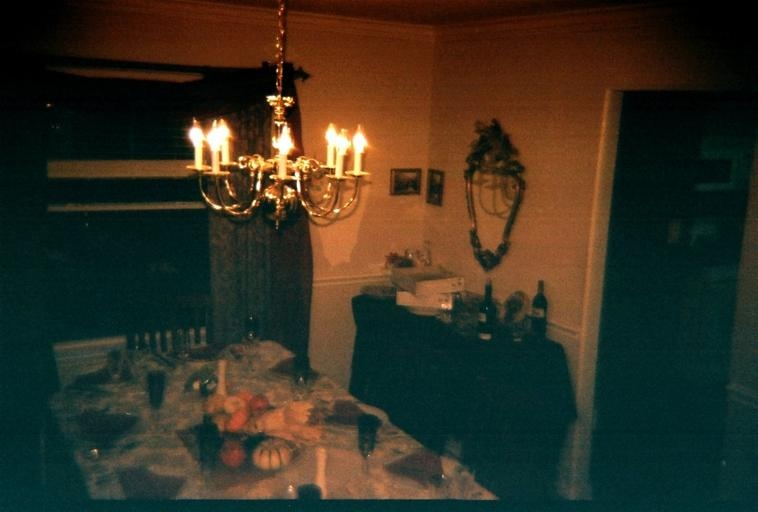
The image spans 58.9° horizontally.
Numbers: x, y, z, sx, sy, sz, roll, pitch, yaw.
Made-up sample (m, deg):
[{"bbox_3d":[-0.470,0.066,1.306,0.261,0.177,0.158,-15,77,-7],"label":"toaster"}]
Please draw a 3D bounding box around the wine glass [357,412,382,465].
[{"bbox_3d":[-0.055,0.904,3.308,0.159,0.204,0.052,2,6,1],"label":"wine glass"}]

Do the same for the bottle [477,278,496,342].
[{"bbox_3d":[0.532,0.267,3.287,0.086,0.296,0.044,2,10,7],"label":"bottle"}]

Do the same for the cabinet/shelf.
[{"bbox_3d":[0.338,0.923,3.441,1.376,1.060,0.610,12,-19,-30],"label":"cabinet/shelf"}]

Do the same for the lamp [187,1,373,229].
[{"bbox_3d":[-0.419,-0.617,2.977,0.829,1.057,0.470,-2,10,-15],"label":"lamp"}]

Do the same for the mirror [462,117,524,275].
[{"bbox_3d":[0.553,-0.283,3.241,0.285,0.726,0.073,2,10,3],"label":"mirror"}]

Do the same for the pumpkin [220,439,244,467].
[{"bbox_3d":[-0.718,0.986,3.315,0.133,0.119,0.069,3,-1,1],"label":"pumpkin"}]

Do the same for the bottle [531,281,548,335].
[{"bbox_3d":[0.778,0.256,3.245,0.081,0.272,0.037,3,10,12],"label":"bottle"}]

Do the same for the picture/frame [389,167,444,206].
[{"bbox_3d":[0.174,-0.340,3.233,0.203,0.122,0.014,2,3,-6],"label":"picture/frame"}]
